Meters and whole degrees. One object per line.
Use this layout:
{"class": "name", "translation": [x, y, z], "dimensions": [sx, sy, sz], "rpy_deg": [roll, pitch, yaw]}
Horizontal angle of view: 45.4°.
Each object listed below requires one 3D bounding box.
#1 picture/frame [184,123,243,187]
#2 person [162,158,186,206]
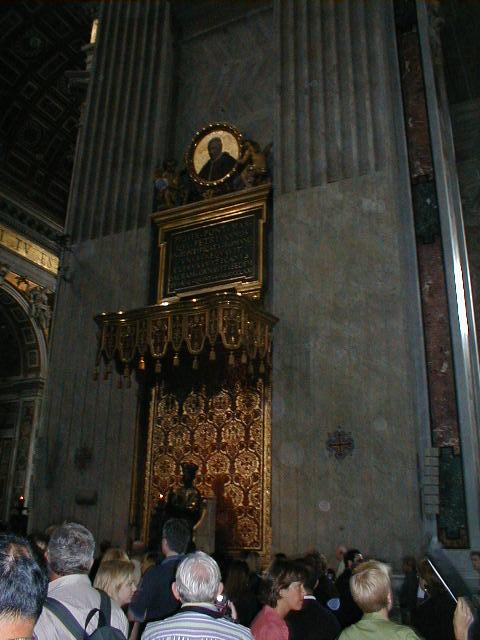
{"class": "picture/frame", "translation": [-0.372, -2.515, 8.780], "dimensions": [1.090, 1.194, 0.166], "rpy_deg": [-4, -11, 31]}
{"class": "person", "translation": [-1.022, -2.148, 9.006], "dimensions": [0.384, 0.828, 0.152], "rpy_deg": [1, -17, -6]}
